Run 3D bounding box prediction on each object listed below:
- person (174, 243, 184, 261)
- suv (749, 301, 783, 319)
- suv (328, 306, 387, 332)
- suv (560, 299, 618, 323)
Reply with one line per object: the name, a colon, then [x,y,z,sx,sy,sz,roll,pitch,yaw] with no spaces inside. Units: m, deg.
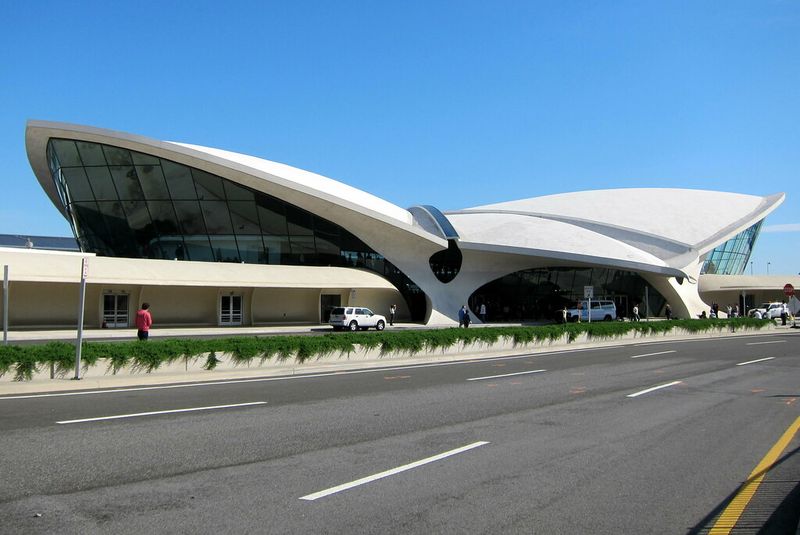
person: [-15.700,-1.141,35.922,0.628,1.088,0.309,1,-2,-21]
suv: [40.720,4.902,56.807,3.025,1.427,1.699,2,-5,-9]
suv: [-3.087,3.676,35.780,3.368,1.275,1.777,-2,0,-30]
suv: [16.753,3.885,45.166,3.342,1.865,6.861,-1,-3,37]
